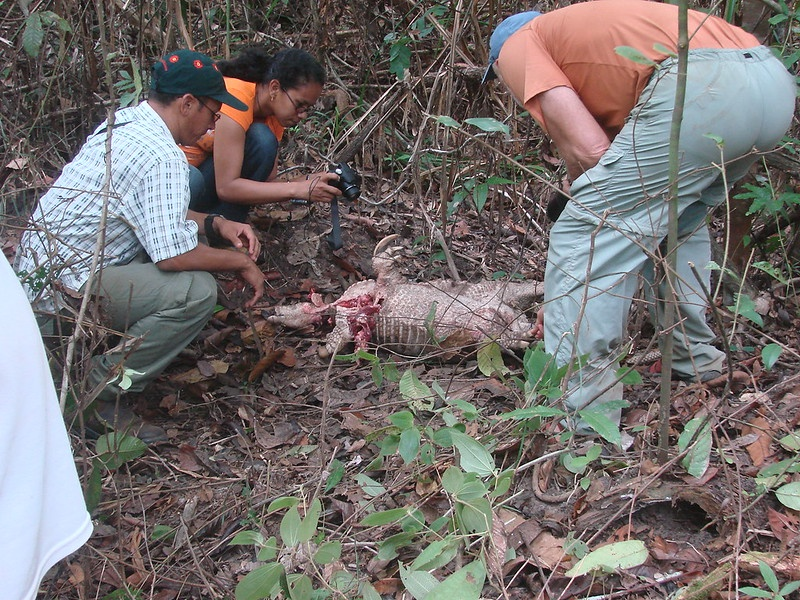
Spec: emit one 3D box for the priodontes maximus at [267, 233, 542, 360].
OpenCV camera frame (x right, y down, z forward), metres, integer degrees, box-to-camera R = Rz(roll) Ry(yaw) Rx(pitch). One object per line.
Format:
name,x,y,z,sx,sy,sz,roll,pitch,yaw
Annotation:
priodontes maximus,0.029,0.015,3.267,1.053,0.381,0.616,4,1,-8

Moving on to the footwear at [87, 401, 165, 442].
footwear,-1.167,0.494,2.901,0.195,0.239,0.064,25,55,38

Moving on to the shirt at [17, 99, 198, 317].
shirt,-1.231,-0.457,3.165,0.623,0.884,0.890,-8,30,-39

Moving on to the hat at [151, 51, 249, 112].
hat,-0.866,-0.934,3.076,0.437,0.185,0.265,8,2,-20

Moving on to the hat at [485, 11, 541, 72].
hat,0.461,-1.058,2.963,0.234,0.223,0.182,0,3,30

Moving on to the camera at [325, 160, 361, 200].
camera,-0.266,-0.597,3.618,0.109,0.175,0.188,-40,49,5
